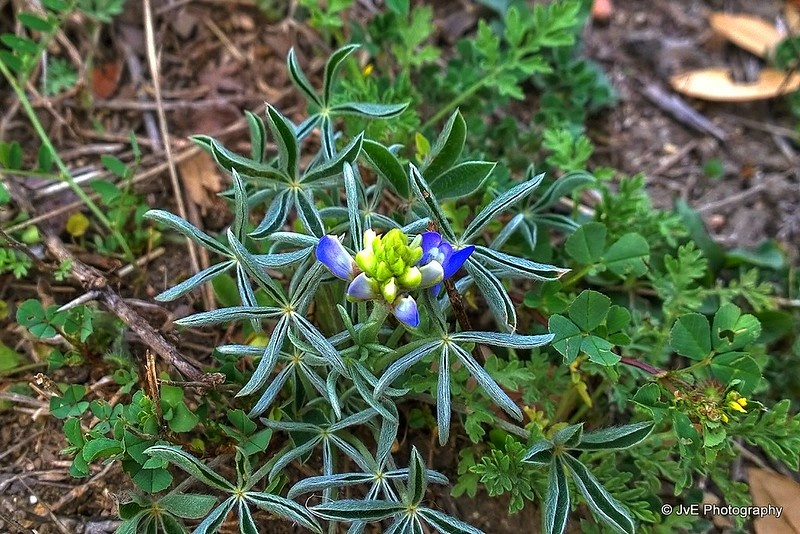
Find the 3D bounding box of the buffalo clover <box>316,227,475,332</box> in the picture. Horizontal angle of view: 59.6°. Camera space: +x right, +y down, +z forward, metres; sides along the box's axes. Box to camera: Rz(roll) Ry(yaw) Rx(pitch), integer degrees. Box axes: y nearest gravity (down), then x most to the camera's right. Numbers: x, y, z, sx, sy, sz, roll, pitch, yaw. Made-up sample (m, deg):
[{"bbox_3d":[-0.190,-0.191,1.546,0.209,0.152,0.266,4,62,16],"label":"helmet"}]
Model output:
[{"bbox_3d":[-0.022,0.008,2.297,0.358,0.385,0.240,14,68,-39],"label":"buffalo clover"}]
